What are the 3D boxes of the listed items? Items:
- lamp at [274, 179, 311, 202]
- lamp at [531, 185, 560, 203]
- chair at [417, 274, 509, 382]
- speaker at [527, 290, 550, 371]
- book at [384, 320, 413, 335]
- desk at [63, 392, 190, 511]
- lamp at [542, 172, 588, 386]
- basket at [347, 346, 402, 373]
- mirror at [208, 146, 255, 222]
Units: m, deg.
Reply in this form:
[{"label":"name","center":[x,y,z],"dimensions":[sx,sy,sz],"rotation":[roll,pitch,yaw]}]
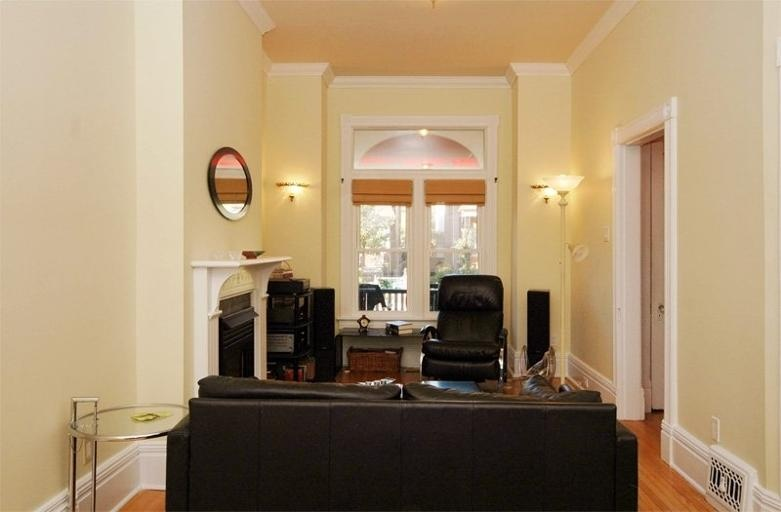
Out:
[{"label":"lamp","center":[-1.153,-0.771,7.321],"dimensions":[0.417,0.238,0.139],"rotation":[1,0,-9]},{"label":"lamp","center":[1.842,-0.741,7.269],"dimensions":[0.256,0.165,0.253],"rotation":[2,-7,1]},{"label":"chair","center":[0.758,0.864,7.062],"dimensions":[0.986,1.352,1.193],"rotation":[-2,-13,13]},{"label":"speaker","center":[1.709,0.846,7.069],"dimensions":[0.249,0.802,0.097],"rotation":[1,0,10]},{"label":"book","center":[0.118,0.885,7.436],"dimensions":[0.327,0.160,0.187],"rotation":[1,-1,-7]},{"label":"desk","center":[-1.902,1.292,4.488],"dimensions":[0.870,0.958,0.859],"rotation":[0,0,-10]},{"label":"lamp","center":[1.903,0.258,6.787],"dimensions":[0.439,2.137,1.153],"rotation":[1,0,14]},{"label":"basket","center":[-0.174,1.286,7.612],"dimensions":[0.679,0.289,0.312],"rotation":[1,-1,0]},{"label":"mirror","center":[-1.393,-0.638,5.432],"dimensions":[0.690,0.648,0.020],"rotation":[19,22,40]}]
